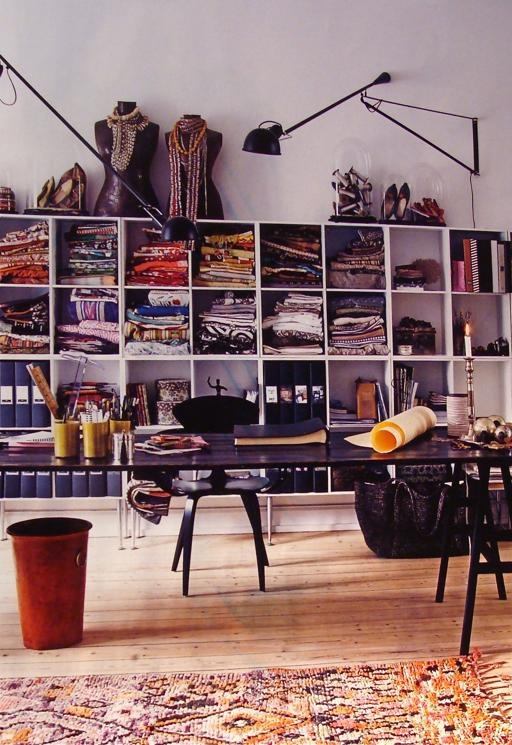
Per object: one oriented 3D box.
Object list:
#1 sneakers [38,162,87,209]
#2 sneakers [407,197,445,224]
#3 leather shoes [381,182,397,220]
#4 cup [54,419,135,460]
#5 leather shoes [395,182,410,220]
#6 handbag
[{"bbox_3d":[-1.092,-1.018,4.315,0.226,0.291,0.102,23,-1,35],"label":"sneakers"},{"bbox_3d":[1.023,-0.947,4.504,0.170,0.088,0.201,0,2,2],"label":"sneakers"},{"bbox_3d":[0.797,-1.006,4.513,0.083,0.223,0.072,7,1,31],"label":"leather shoes"},{"bbox_3d":[-0.555,0.228,2.587,0.289,0.124,0.118,0,-1,-22],"label":"cup"},{"bbox_3d":[0.871,-1.019,4.512,0.079,0.208,0.064,5,-11,6],"label":"leather shoes"},{"bbox_3d":[0.770,0.723,3.938,0.792,0.477,0.426,0,1,-2],"label":"handbag"}]
